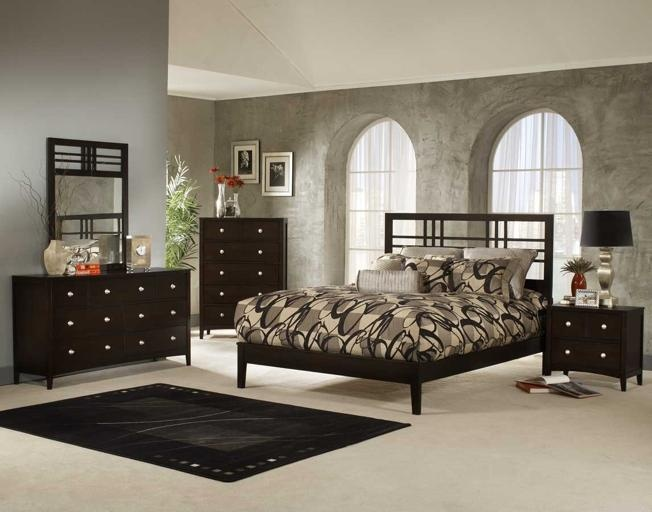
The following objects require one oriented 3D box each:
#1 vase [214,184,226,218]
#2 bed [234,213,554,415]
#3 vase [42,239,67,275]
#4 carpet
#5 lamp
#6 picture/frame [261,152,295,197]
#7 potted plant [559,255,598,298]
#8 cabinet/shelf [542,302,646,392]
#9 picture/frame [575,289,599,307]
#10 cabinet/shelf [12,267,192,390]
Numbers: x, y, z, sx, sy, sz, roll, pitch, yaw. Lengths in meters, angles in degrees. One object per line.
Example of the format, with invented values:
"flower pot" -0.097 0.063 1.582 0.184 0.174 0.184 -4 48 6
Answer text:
"vase" -1.340 -0.704 6.893 0.120 0.442 0.224 1 0 -12
"bed" 0.860 0.503 4.815 1.800 1.579 2.421 0 0 37
"vase" -2.239 0.014 4.468 0.166 0.278 0.078 1 0 -33
"carpet" -0.798 1.045 3.374 2.312 0.041 1.311 0 -1 28
"lamp" 2.540 -0.004 4.888 0.390 0.864 0.714 1 0 29
"picture/frame" -0.663 -1.168 7.689 0.662 0.803 0.057 0 -2 28
"potted plant" 2.330 0.185 4.978 0.285 0.355 0.275 2 4 28
"cabinet/shelf" 2.393 0.656 4.830 0.900 0.847 0.642 0 -2 33
"picture/frame" 2.267 0.372 4.697 0.139 0.121 0.043 1 -5 27
"cabinet/shelf" -1.961 0.614 4.892 0.473 0.882 1.496 -1 -1 31
